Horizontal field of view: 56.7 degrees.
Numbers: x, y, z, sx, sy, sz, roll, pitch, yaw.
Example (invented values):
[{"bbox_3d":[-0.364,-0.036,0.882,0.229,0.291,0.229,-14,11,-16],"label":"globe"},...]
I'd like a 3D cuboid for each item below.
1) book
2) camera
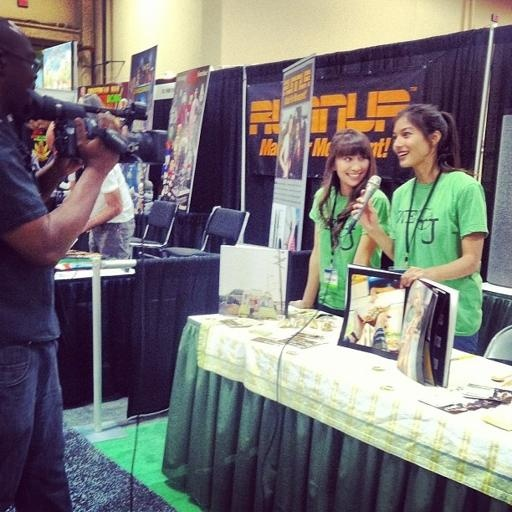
[{"bbox_3d":[0.433,0.219,1.446,0.067,0.229,0.317,2,6,-32],"label":"book"},{"bbox_3d":[-0.360,-0.280,1.069,0.349,0.165,0.109,-5,13,-37],"label":"camera"}]
